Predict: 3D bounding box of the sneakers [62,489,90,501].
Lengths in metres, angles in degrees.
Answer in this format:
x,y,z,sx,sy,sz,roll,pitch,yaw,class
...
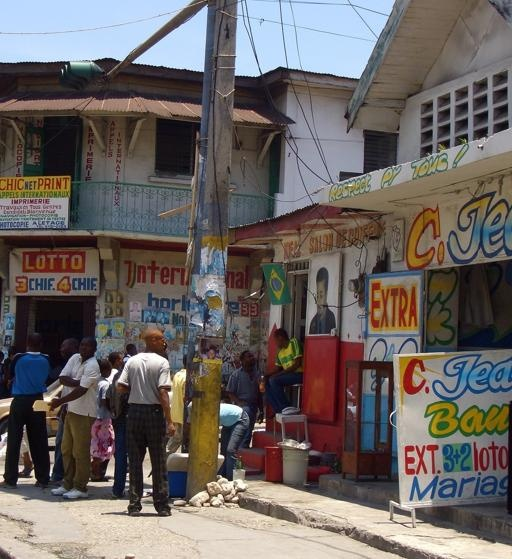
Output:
x,y,z,sx,sy,sz,roll,pitch,yaw,class
-2.020,2.406,8.673,0.262,0.124,0.100,9,-9,-28,sneakers

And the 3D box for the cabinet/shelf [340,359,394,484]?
x,y,z,sx,sy,sz,roll,pitch,yaw,class
1.351,1.687,9.299,0.620,1.395,0.634,0,-8,8,cabinet/shelf

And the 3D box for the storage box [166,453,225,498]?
x,y,z,sx,sy,sz,roll,pitch,yaw,class
-0.788,2.291,9.244,0.522,0.616,0.571,1,0,-5,storage box

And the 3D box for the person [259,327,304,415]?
x,y,z,sx,sy,sz,roll,pitch,yaw,class
0.417,1.477,12.459,0.571,1.316,0.705,5,-9,-30,person

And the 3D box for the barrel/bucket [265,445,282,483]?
x,y,z,sx,sy,sz,roll,pitch,yaw,class
0.233,2.422,10.162,0.227,0.451,0.217,1,-8,0,barrel/bucket

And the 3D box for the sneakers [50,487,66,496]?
x,y,z,sx,sy,sz,roll,pitch,yaw,class
-2.254,2.397,8.796,0.195,0.111,0.079,4,0,-6,sneakers

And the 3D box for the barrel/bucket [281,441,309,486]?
x,y,z,sx,sy,sz,roll,pitch,yaw,class
0.512,2.347,10.061,0.423,0.580,0.441,1,-1,0,barrel/bucket
